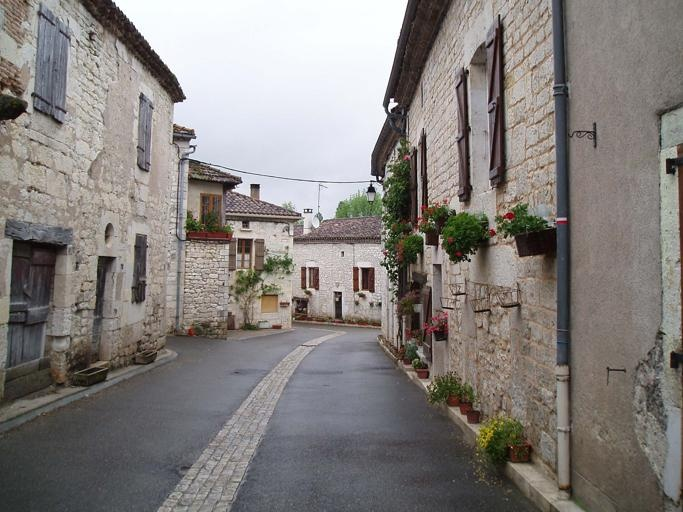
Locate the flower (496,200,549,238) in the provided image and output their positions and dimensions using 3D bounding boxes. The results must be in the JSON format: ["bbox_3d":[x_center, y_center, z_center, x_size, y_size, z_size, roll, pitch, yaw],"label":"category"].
[{"bbox_3d":[1.783,-0.339,5.361,0.304,0.342,0.367,0,6,30],"label":"flower"}]

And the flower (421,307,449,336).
[{"bbox_3d":[1.596,1.092,9.037,0.344,0.303,0.389,2,-12,-12],"label":"flower"}]

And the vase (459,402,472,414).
[{"bbox_3d":[1.655,2.011,7.148,0.132,0.148,0.301,0,0,1],"label":"vase"}]

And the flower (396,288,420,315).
[{"bbox_3d":[1.427,0.975,11.506,0.422,0.571,0.468,4,-10,-8],"label":"flower"}]

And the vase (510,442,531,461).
[{"bbox_3d":[1.827,1.994,5.526,0.155,0.134,0.166,-1,-10,5],"label":"vase"}]

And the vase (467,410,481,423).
[{"bbox_3d":[1.679,2.018,6.864,0.122,0.149,0.140,0,-13,-5],"label":"vase"}]

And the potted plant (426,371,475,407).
[{"bbox_3d":[1.563,1.901,7.683,0.413,0.345,0.442,-11,-23,33],"label":"potted plant"}]

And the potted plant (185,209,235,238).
[{"bbox_3d":[-4.953,-1.181,20.203,1.242,0.973,1.353,3,-7,-22],"label":"potted plant"}]

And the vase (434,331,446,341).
[{"bbox_3d":[1.609,1.294,8.839,0.126,0.118,0.143,-1,-1,9],"label":"vase"}]

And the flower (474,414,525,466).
[{"bbox_3d":[1.702,1.962,5.754,0.457,0.472,0.431,0,0,7],"label":"flower"}]
